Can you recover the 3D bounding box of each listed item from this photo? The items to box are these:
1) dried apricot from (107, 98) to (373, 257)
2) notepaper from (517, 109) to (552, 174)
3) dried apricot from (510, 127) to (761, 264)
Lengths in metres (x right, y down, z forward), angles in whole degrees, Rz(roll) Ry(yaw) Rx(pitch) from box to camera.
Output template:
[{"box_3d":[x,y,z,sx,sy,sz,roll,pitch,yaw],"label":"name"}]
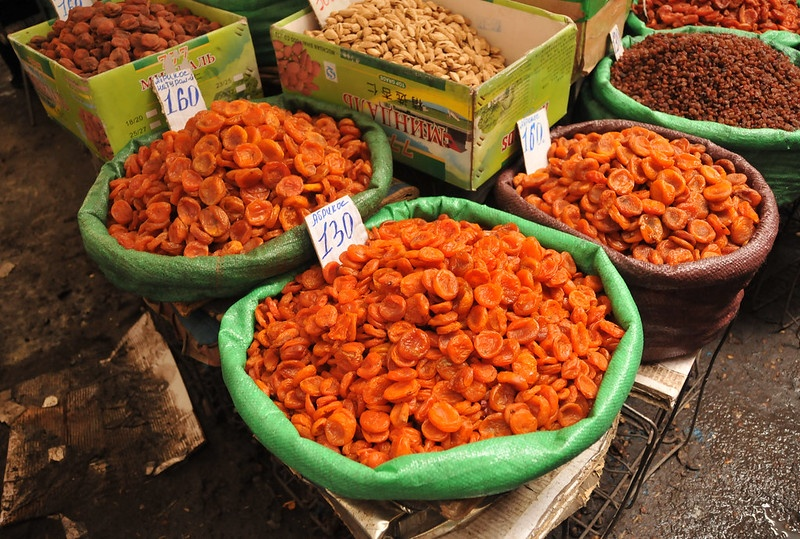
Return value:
[{"box_3d":[-0.904,-0.517,3.790,1.232,0.549,0.931,-29,47,-30],"label":"dried apricot"},{"box_3d":[0.805,-0.752,4.001,0.010,0.250,0.359,2,77,-35],"label":"notepaper"},{"box_3d":[1.457,-0.630,4.430,1.791,0.677,1.434,2,28,13],"label":"dried apricot"}]
